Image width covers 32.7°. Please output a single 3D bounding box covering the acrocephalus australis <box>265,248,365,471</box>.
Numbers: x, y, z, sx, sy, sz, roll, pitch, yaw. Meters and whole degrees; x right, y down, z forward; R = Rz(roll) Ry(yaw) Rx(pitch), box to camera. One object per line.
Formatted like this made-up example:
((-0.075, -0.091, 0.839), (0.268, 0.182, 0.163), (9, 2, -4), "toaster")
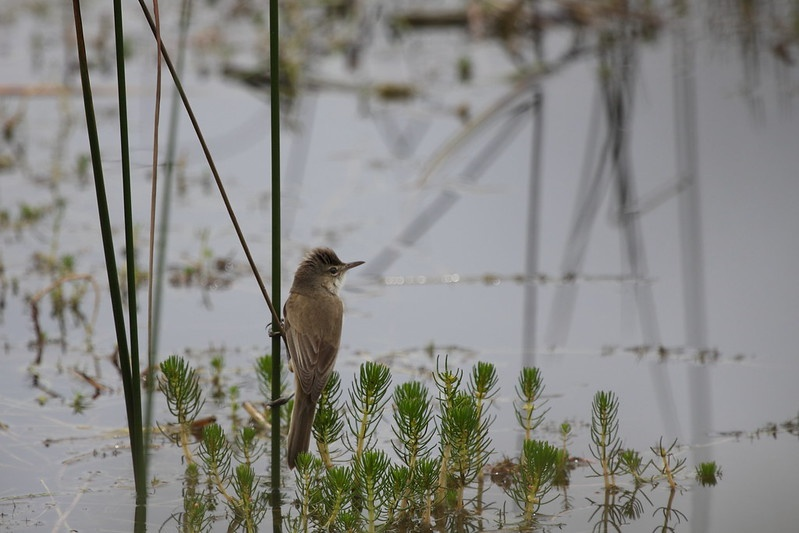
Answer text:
((-0.298, 0.295, 4.998), (0.251, 0.809, 0.323), (16, -37, -14), "acrocephalus australis")
